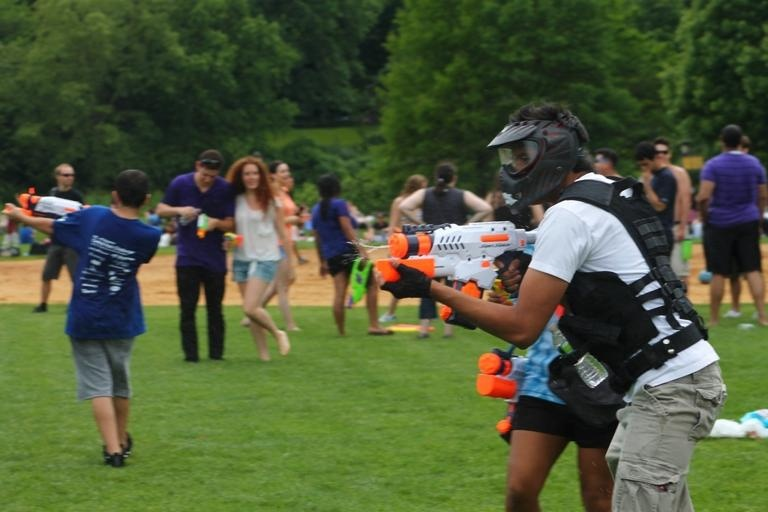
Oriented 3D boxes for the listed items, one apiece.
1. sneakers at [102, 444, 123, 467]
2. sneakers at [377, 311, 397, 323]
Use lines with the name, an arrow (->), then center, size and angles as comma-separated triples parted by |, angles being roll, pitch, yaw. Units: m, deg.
sneakers -> -3.899, 2.896, 18.252 | 0.307, 0.282, 0.173 | 2, 5, -13
sneakers -> 0.114, 1.203, 24.650 | 0.424, 0.147, 0.139 | -1, 11, -17
